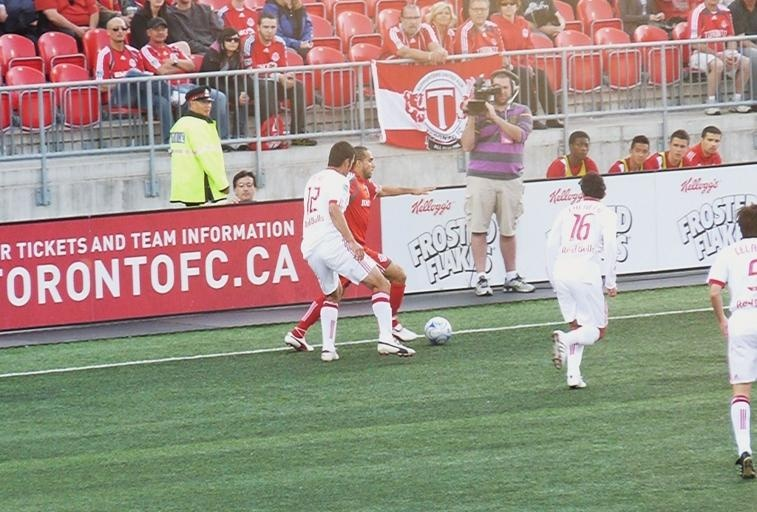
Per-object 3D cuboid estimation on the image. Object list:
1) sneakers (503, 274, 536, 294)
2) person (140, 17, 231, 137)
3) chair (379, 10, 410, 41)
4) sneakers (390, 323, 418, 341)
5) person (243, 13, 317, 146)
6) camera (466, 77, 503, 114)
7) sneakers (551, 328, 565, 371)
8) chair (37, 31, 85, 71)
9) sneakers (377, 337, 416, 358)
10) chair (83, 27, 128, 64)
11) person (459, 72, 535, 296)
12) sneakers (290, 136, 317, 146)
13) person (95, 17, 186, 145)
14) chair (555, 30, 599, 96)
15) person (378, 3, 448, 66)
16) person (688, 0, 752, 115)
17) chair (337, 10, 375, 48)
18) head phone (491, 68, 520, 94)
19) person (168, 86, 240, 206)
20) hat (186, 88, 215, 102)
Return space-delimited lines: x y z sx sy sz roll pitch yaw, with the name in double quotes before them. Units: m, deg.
"sneakers" 2.093 0.422 29.738 0.498 0.266 0.216 3 5 17
"person" -3.042 -2.748 30.852 0.773 2.068 1.294 -18 13 -37
"chair" 0.244 -4.061 34.138 0.542 0.706 0.647 1 -7 -1
"sneakers" 0.355 1.076 27.488 0.340 0.139 0.193 16 22 35
"person" -1.628 -2.775 31.064 0.900 2.085 0.939 -7 5 -37
"camera" 1.506 -2.364 29.080 0.359 0.627 0.303 7 11 1
"sneakers" 2.328 1.194 25.567 0.229 0.474 0.165 4 -2 8
"chair" -5.112 -3.288 31.838 0.599 0.783 0.713 -10 13 -38
"sneakers" 0.202 1.236 26.877 0.590 0.276 0.214 6 2 -15
"chair" -4.382 -3.382 31.899 0.464 0.625 0.516 0 4 -17
"person" 1.764 -1.083 29.445 0.995 3.323 0.877 -4 4 -2
"sneakers" -1.172 -1.814 31.034 0.400 0.173 0.138 -3 7 -5
"person" -3.783 -2.731 30.634 1.134 1.942 0.826 -4 4 -10
"chair" 3.187 -3.123 32.307 0.670 1.150 1.144 -5 13 -7
"person" 0.568 -3.491 31.141 1.008 0.942 0.757 -3 5 1
"person" 5.585 -3.292 32.578 0.960 1.890 1.282 -3 4 9
"chair" -0.414 -3.913 33.995 0.630 0.644 1.184 -3 5 1
"head phone" 1.855 -2.640 29.390 0.380 0.444 0.244 -3 5 6
"person" -2.647 -1.669 29.605 1.022 1.944 1.219 -12 23 -36
"hat" -2.651 -2.400 29.233 0.336 0.215 0.390 -4 5 -10
